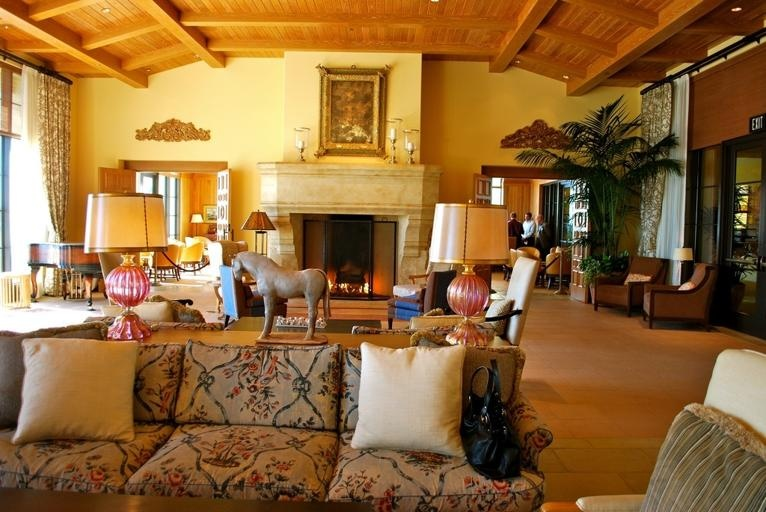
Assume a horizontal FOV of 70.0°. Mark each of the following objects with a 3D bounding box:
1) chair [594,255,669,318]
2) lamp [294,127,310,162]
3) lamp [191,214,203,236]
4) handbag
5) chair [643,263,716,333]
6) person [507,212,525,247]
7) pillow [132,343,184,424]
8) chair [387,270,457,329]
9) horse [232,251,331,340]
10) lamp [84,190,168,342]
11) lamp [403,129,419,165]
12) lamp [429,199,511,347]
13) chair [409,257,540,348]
[{"bbox_3d":[4.227,0.503,9.417,1.213,1.154,0.876,0,3,-20],"label":"chair"},{"bbox_3d":[-1.553,-2.054,10.181,0.276,0.646,0.375,1,8,6],"label":"lamp"},{"bbox_3d":[-6.106,-0.989,17.831,0.410,0.714,0.721,-2,8,-15],"label":"lamp"},{"bbox_3d":[0.658,1.034,3.409,0.320,0.596,0.647,-5,6,-2],"label":"handbag"},{"bbox_3d":[4.528,0.590,8.669,1.025,1.195,0.851,1,2,16],"label":"chair"},{"bbox_3d":[3.619,-0.558,15.019,0.493,1.219,0.385,5,26,20],"label":"person"},{"bbox_3d":[-1.550,0.868,3.747,0.423,0.429,0.183,4,-8,-10],"label":"pillow"},{"bbox_3d":[0.691,0.571,7.571,0.719,0.960,0.920,-2,3,-39],"label":"chair"},{"bbox_3d":[-1.088,0.437,5.600,1.024,0.846,0.316,2,6,5],"label":"horse"},{"bbox_3d":[-2.058,0.069,4.417,0.597,1.128,0.720,-5,9,-29],"label":"lamp"},{"bbox_3d":[0.515,-2.021,10.237,0.298,0.644,0.258,0,8,3],"label":"lamp"},{"bbox_3d":[0.704,0.147,4.486,0.643,1.121,0.740,1,8,7],"label":"lamp"},{"bbox_3d":[0.841,0.434,5.165,1.156,1.386,0.803,1,1,0],"label":"chair"}]
